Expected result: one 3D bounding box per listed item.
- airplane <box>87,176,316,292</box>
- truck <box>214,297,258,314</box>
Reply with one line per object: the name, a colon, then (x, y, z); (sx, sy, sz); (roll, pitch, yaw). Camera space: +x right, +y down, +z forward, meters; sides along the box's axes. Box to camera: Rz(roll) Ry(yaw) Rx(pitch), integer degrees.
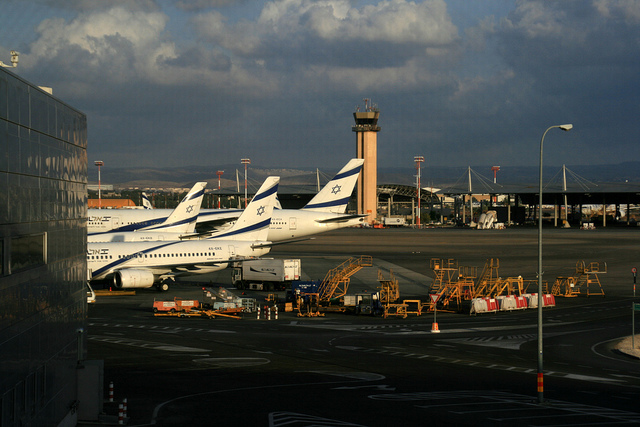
airplane: (-11.506, 2.121, 92.203); (4.966, 9.678, 19.174); (-5, -8, 45)
truck: (-6.324, 6.766, 78.041); (2.148, 0.702, 1.442); (-1, 1, 3)
